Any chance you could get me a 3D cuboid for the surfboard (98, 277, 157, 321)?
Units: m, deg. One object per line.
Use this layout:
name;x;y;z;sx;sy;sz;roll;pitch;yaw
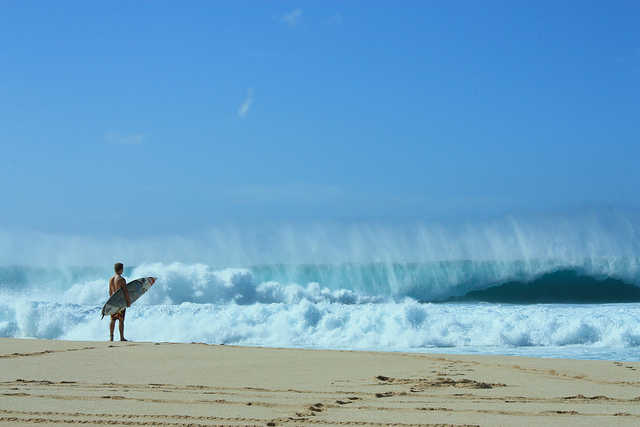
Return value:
surfboard;-4.657;1.975;23.737;2.181;0.467;0.201;-42;-14;-51
